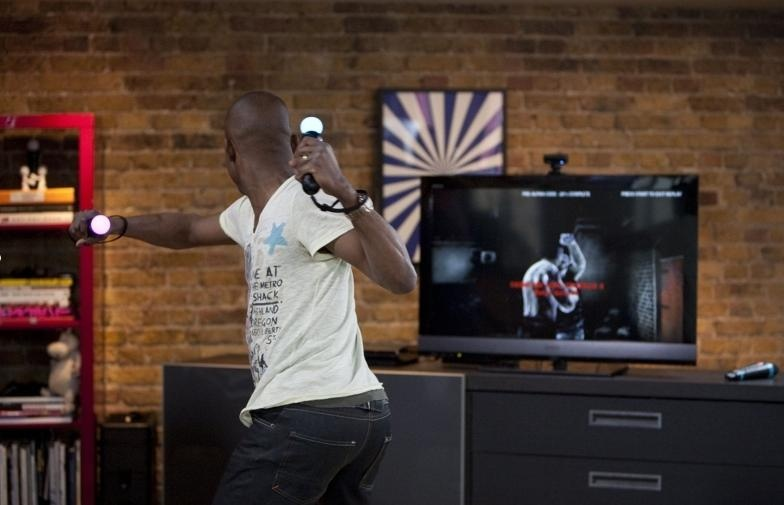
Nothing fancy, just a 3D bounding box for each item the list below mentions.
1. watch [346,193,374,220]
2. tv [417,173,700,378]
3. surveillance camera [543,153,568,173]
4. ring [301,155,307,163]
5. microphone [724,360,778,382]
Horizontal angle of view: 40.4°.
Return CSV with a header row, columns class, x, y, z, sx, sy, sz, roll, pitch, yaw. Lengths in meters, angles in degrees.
class,x,y,z,sx,sy,sz,roll,pitch,yaw
watch,-0.133,-0.220,4.899,0.120,0.063,0.102,-35,8,-4
tv,0.972,0.134,5.977,1.191,0.790,0.306,1,0,6
surveillance camera,0.938,-0.513,6.154,0.131,0.160,0.265,-2,-3,9
ring,-0.398,-0.431,4.882,0.028,0.030,0.013,-1,-4,-4
microphone,1.977,0.667,5.906,0.364,0.113,0.117,-7,5,-24
